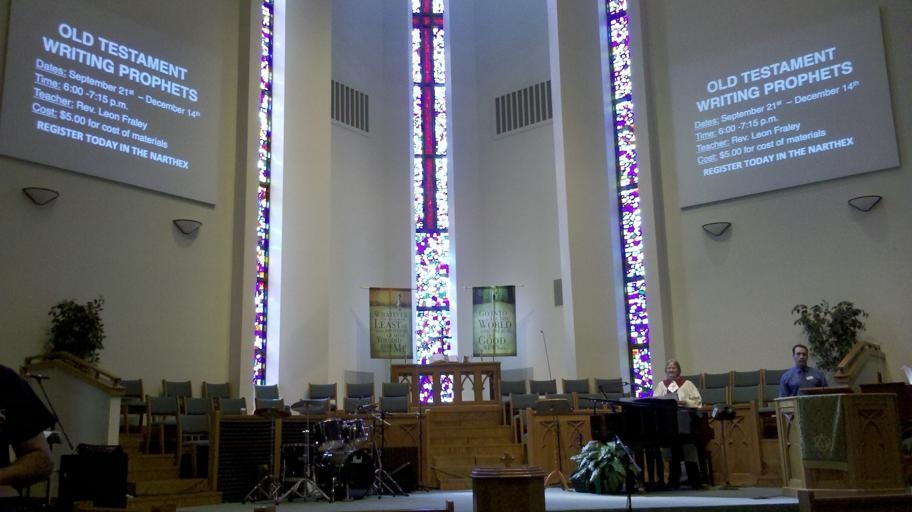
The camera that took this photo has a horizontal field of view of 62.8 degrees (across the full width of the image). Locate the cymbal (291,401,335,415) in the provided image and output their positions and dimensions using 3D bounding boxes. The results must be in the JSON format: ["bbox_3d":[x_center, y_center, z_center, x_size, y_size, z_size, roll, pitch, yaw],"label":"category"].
[{"bbox_3d":[-3.128,3.299,16.256,0.873,0.271,0.856,-2,-15,-1],"label":"cymbal"}]

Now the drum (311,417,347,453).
[{"bbox_3d":[-2.435,3.318,13.699,0.584,0.533,0.592,-24,-27,25],"label":"drum"}]

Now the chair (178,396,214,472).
[{"bbox_3d":[-5.321,3.558,15.164,0.911,1.924,0.650,2,0,-9],"label":"chair"}]

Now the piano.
[{"bbox_3d":[3.634,3.344,13.652,2.218,1.503,1.630,-2,-5,-11],"label":"piano"}]

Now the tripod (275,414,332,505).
[{"bbox_3d":[-2.932,3.872,14.060,0.962,1.780,0.689,0,0,-3],"label":"tripod"}]

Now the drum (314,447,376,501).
[{"bbox_3d":[-2.031,4.049,13.728,1.305,0.974,0.769,3,-1,4],"label":"drum"}]

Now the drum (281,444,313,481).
[{"bbox_3d":[-3.033,3.885,14.074,0.648,0.625,0.640,0,-12,1],"label":"drum"}]

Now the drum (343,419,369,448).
[{"bbox_3d":[-1.901,3.311,14.010,0.521,0.414,0.519,-4,-33,-3],"label":"drum"}]

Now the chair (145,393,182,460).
[{"bbox_3d":[-6.100,3.431,15.423,0.610,1.224,1.547,4,-16,-22],"label":"chair"}]

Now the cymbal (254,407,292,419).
[{"bbox_3d":[-3.450,2.951,14.064,0.520,0.173,0.785,-7,-16,15],"label":"cymbal"}]
